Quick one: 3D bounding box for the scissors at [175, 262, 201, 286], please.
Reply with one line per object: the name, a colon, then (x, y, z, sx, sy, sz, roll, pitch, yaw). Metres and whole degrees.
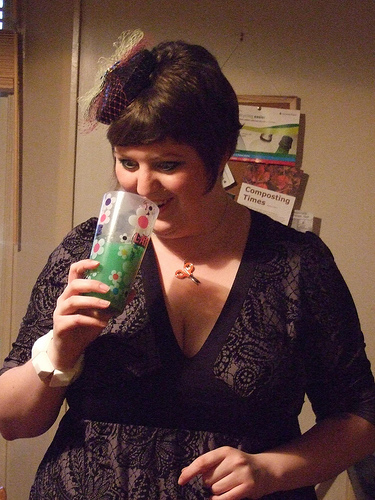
scissors: (-0.001, 0.058, 1.088, 0.049, 0.051, 0.017, 50, -15, 11)

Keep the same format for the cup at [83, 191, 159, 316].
cup: (-0.117, 0.007, 0.803, 0.102, 0.212, 0.110, 10, 19, -4)

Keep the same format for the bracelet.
bracelet: (-0.256, 0.218, 0.932, 0.102, 0.111, 0.049, 8, 20, 23)
